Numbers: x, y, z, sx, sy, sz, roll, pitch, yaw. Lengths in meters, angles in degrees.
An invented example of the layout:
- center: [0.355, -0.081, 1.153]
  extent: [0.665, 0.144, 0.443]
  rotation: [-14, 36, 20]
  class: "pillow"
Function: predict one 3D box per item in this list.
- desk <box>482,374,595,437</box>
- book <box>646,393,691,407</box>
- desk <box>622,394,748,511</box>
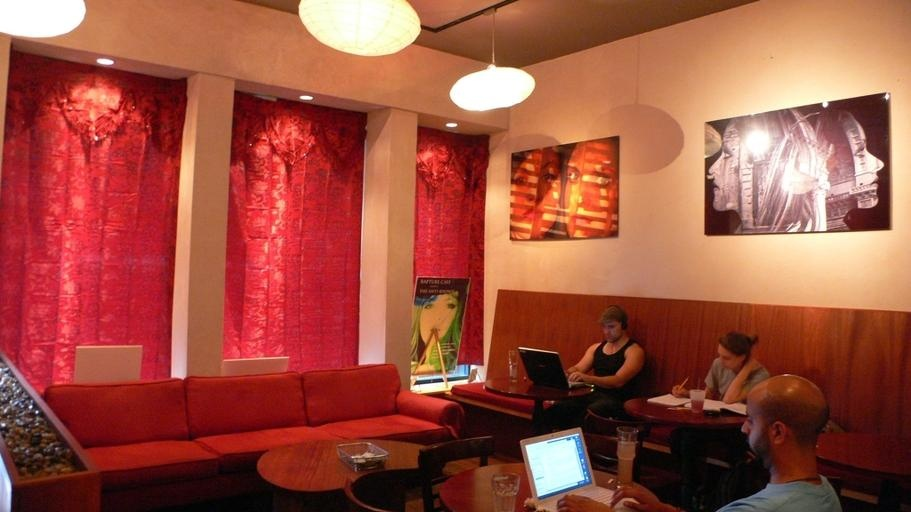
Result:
- center: [0.903, 1.658, 6.945]
  extent: [0.805, 0.507, 0.782]
  rotation: [7, -7, -40]
  class: "desk"
- center: [2.282, 1.534, 6.466]
  extent: [0.357, 0.033, 0.307]
  rotation: [1, 0, 14]
  class: "book"
- center: [2.429, 1.883, 6.192]
  extent: [1.182, 0.772, 1.126]
  rotation: [7, -3, -30]
  class: "desk"
